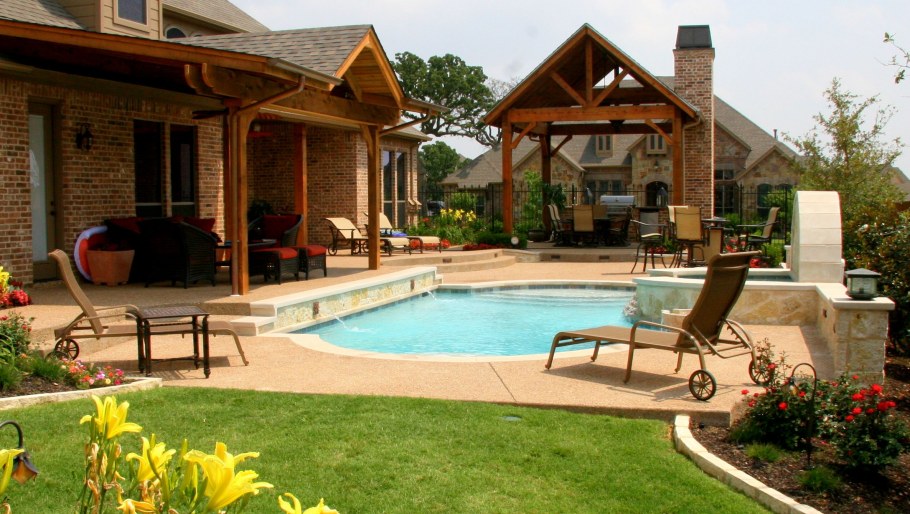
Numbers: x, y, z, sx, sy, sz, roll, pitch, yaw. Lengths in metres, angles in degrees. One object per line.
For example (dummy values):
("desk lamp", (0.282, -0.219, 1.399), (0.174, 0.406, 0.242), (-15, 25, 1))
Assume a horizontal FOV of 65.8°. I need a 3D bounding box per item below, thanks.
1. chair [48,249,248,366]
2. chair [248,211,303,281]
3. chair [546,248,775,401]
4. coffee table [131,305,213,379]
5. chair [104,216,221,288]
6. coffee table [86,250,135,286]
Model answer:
("chair", (-4.886, 0.752, 10.917), (3.229, 1.726, 1.779), (0, 2, -12))
("chair", (-4.163, -0.249, 16.439), (1.383, 1.480, 1.636), (-3, 5, -10))
("chair", (3.017, 0.872, 10.784), (3.032, 1.816, 2.019), (2, 3, 32))
("coffee table", (-4.143, 1.260, 10.361), (0.966, 0.865, 0.785), (-2, 5, -34))
("chair", (-6.291, -0.124, 15.293), (2.085, 1.553, 1.746), (-2, 1, -14))
("coffee table", (-7.604, 0.222, 15.709), (1.027, 0.808, 0.745), (-1, -2, -7))
